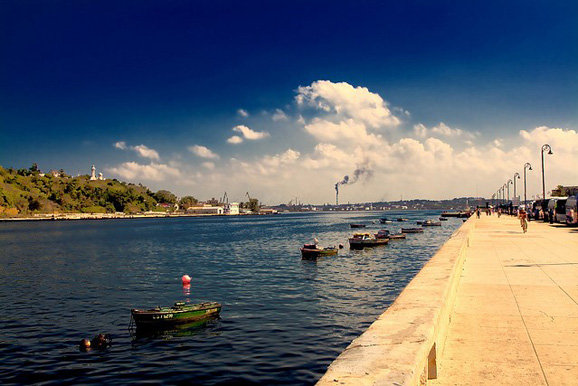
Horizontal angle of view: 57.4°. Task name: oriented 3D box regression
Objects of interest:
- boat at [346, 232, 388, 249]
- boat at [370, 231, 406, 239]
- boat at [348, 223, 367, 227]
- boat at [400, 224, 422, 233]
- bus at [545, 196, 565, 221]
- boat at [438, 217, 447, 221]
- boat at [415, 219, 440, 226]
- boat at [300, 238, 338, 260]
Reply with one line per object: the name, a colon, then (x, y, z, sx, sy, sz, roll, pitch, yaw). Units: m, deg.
boat: (12.428, 7.311, 80.610, 7.588, 2.359, 2.405, 8, -15, -31)
boat: (17.432, 7.515, 92.216, 6.988, 0.904, 2.327, 0, -1, -33)
boat: (20.949, 9.754, 162.076, 4.845, 1.085, 1.063, 5, -10, -21)
boat: (31.174, 8.861, 134.559, 6.842, 2.179, 1.577, 1, -11, 6)
bus: (37.360, 1.978, 73.643, 2.066, 2.938, 7.010, -8, 1, 13)
boat: (61.498, 10.201, 211.684, 1.410, 1.028, 2.757, 6, 2, 5)
boat: (43.065, 9.149, 163.433, 6.767, 1.596, 2.439, 0, -4, 15)
boat: (4.241, 7.764, 69.493, 6.984, 2.270, 2.129, 11, -23, -40)
